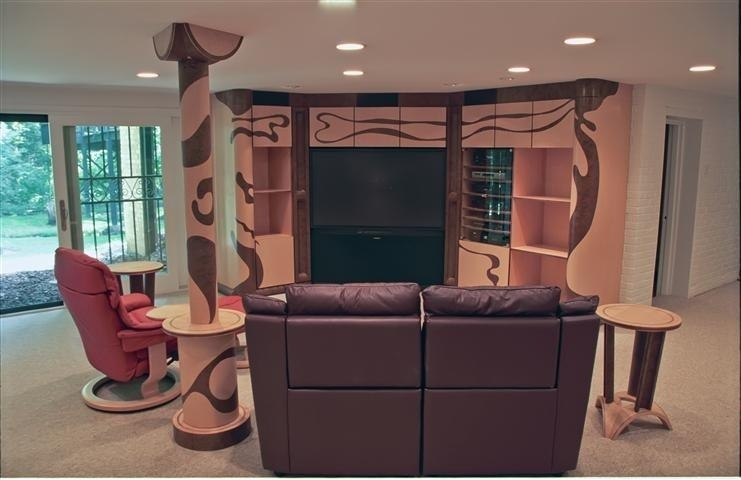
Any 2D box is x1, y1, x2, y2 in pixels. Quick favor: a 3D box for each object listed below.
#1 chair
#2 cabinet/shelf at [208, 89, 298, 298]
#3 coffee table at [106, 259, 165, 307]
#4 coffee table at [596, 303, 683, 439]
[{"bbox_3d":[-2.475,0.833,5.351,1.391,1.432,1.286,2,4,17],"label":"chair"},{"bbox_3d":[-1.692,-0.671,7.502,1.027,2.819,0.753,-7,9,-28],"label":"cabinet/shelf"},{"bbox_3d":[-2.797,0.474,6.071,0.597,0.388,0.561,2,6,0],"label":"coffee table"},{"bbox_3d":[2.402,1.159,4.693,0.663,1.095,0.591,1,8,22],"label":"coffee table"}]
